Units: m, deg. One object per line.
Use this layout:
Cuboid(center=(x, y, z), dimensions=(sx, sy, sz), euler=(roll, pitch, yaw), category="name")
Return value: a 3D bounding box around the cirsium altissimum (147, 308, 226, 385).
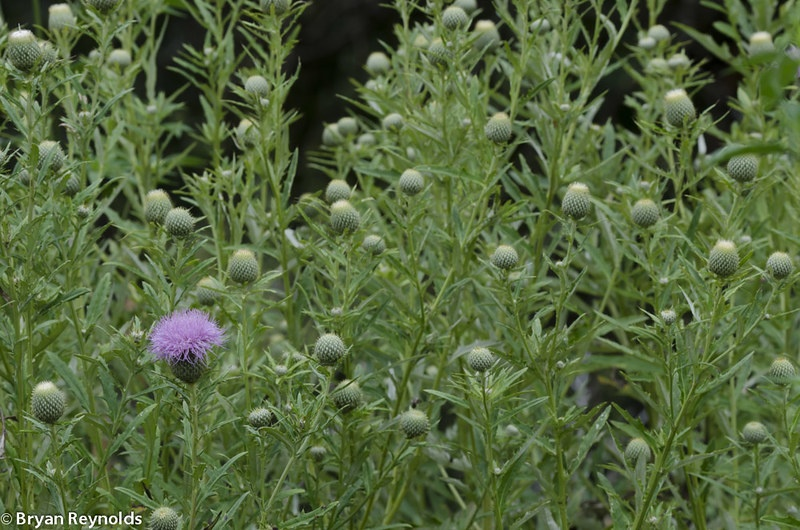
Cuboid(center=(-0.919, 0.365, 4.721), dimensions=(0.321, 0.272, 0.331), euler=(6, 50, -10), category="cirsium altissimum")
